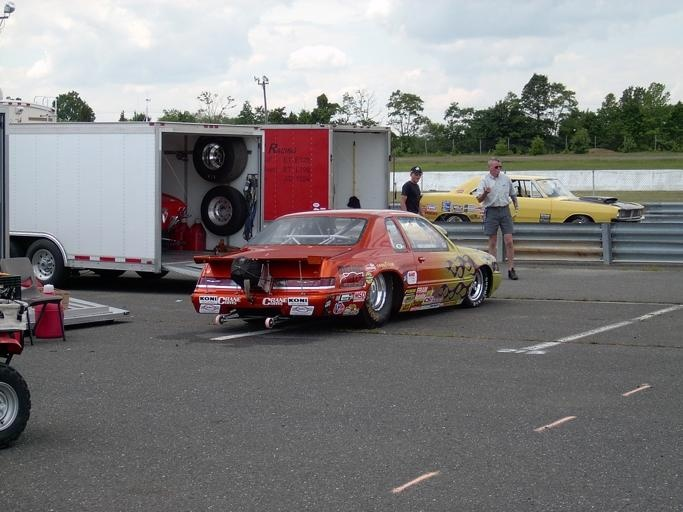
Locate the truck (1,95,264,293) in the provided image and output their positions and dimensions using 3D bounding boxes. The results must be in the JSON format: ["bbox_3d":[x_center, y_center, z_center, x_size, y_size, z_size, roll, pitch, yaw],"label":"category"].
[{"bbox_3d":[-5.143,-1.238,14.612,6.163,3.406,3.801,1,3,25],"label":"truck"}]

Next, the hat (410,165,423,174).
[{"bbox_3d":[1.611,-1.871,15.150,0.191,0.117,0.268,0,8,-15],"label":"hat"}]
